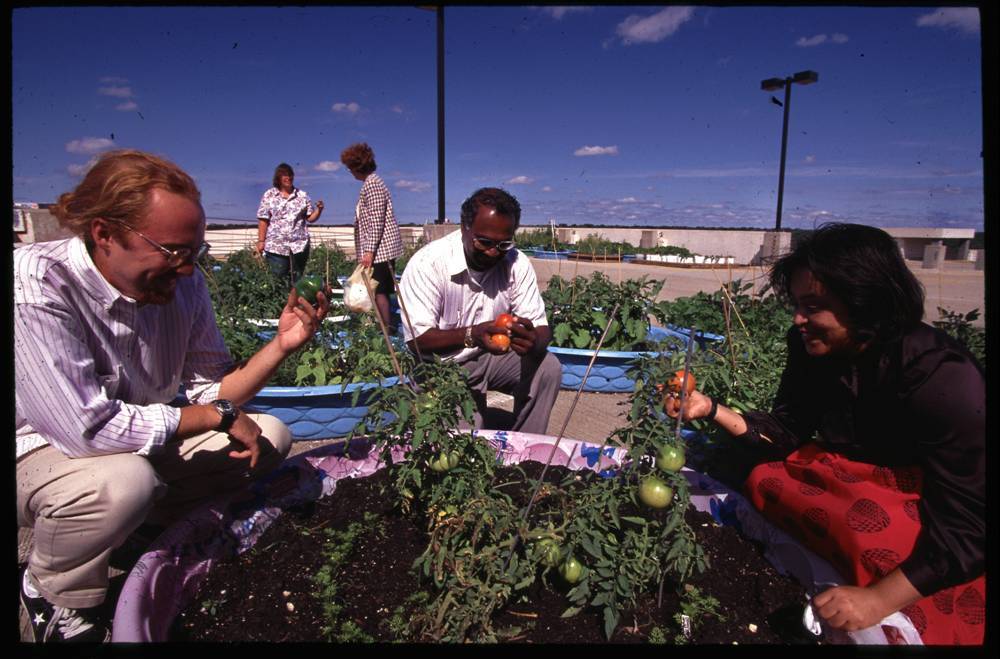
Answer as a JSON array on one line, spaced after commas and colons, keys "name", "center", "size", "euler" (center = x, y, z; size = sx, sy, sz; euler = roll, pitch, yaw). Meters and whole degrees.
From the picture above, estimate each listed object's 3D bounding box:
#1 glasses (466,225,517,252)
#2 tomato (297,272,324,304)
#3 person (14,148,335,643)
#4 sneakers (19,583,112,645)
[{"name": "glasses", "center": [-0.050, -0.570, 3.668], "size": [0.260, 0.132, 0.125], "euler": [1, 12, -8]}, {"name": "tomato", "center": [-0.957, -0.203, 2.870], "size": [0.138, 0.162, 0.135], "euler": [-2, -1, -1]}, {"name": "person", "center": [-1.758, 0.296, 2.869], "size": [1.156, 2.274, 0.646], "euler": [-9, 17, -43]}, {"name": "sneakers", "center": [-2.044, 1.343, 2.683], "size": [0.142, 0.414, 0.171], "euler": [-48, 20, -27]}]
